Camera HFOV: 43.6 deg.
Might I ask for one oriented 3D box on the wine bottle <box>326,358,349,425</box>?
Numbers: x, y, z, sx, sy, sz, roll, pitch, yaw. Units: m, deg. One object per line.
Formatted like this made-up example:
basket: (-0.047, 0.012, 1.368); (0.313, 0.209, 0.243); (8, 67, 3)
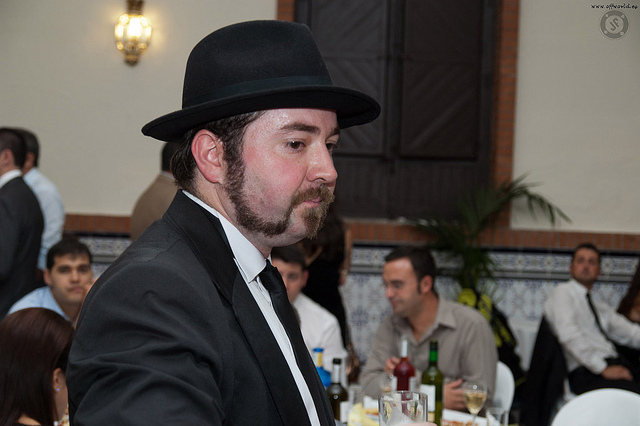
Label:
wine bottle: (0.144, 1.312, 5.874); (0.153, 0.454, 0.164); (5, 9, -1)

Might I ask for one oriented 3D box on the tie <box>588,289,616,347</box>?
tie: (2.908, 1.090, 8.325); (0.117, 0.701, 0.017); (-39, -51, 20)

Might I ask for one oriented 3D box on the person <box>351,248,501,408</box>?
person: (0.902, 1.305, 6.695); (1.216, 1.941, 0.979); (-5, -3, 20)

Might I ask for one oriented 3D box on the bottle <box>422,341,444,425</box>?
bottle: (0.830, 1.230, 5.863); (0.147, 0.573, 0.373); (0, -3, 7)

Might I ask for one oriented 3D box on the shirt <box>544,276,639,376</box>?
shirt: (2.778, 1.168, 8.143); (1.029, 0.911, 0.453); (3, -4, -36)

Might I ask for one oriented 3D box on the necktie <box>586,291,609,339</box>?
necktie: (2.876, 1.079, 8.266); (0.057, 0.515, 0.082); (-23, -16, -26)

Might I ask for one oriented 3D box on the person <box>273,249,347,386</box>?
person: (-0.077, 0.844, 6.904); (0.276, 0.908, 0.932); (-9, -18, 33)

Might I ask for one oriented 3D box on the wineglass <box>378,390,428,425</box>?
wineglass: (0.485, 1.131, 4.610); (0.277, 0.183, 0.178); (1, -3, -2)
